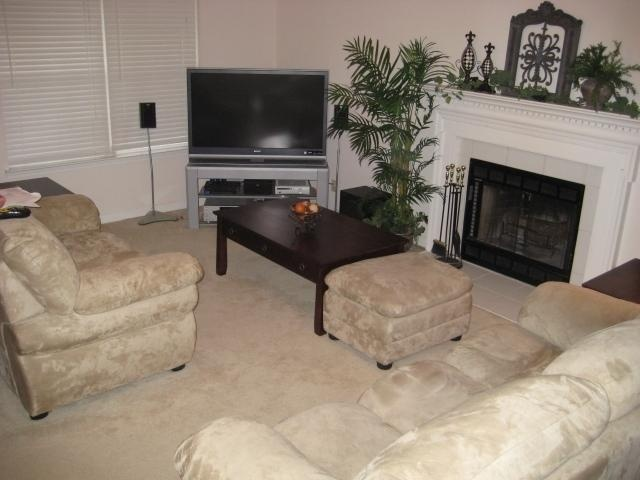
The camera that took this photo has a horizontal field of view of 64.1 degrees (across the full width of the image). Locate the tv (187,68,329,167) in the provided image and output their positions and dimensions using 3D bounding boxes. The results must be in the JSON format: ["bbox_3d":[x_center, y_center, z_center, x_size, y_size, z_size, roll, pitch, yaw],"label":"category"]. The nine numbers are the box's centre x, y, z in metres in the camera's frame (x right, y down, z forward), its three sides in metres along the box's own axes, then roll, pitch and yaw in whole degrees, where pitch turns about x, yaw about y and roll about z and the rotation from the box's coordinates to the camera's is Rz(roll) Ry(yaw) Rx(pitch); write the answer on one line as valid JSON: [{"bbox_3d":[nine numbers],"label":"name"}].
[{"bbox_3d":[-0.688,-1.296,5.280,1.095,0.728,0.070,2,21,-3],"label":"tv"}]

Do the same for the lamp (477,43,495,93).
[{"bbox_3d":[1.353,-1.388,4.117,0.121,0.375,0.229,5,20,14],"label":"lamp"}]

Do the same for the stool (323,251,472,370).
[{"bbox_3d":[0.476,0.370,3.289,0.909,0.570,0.658,-13,25,-29],"label":"stool"}]

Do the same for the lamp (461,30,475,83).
[{"bbox_3d":[1.225,-1.519,4.230,0.131,0.395,0.233,5,20,15],"label":"lamp"}]

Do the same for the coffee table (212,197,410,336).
[{"bbox_3d":[0.024,-0.179,3.910,0.974,0.570,1.455,-16,27,-38],"label":"coffee table"}]

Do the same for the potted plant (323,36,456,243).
[{"bbox_3d":[0.606,-0.951,4.817,0.854,1.835,1.329,-9,22,-24],"label":"potted plant"}]

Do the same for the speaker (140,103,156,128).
[{"bbox_3d":[-1.737,-1.256,5.139,0.199,0.289,0.153,-1,24,-15],"label":"speaker"}]
